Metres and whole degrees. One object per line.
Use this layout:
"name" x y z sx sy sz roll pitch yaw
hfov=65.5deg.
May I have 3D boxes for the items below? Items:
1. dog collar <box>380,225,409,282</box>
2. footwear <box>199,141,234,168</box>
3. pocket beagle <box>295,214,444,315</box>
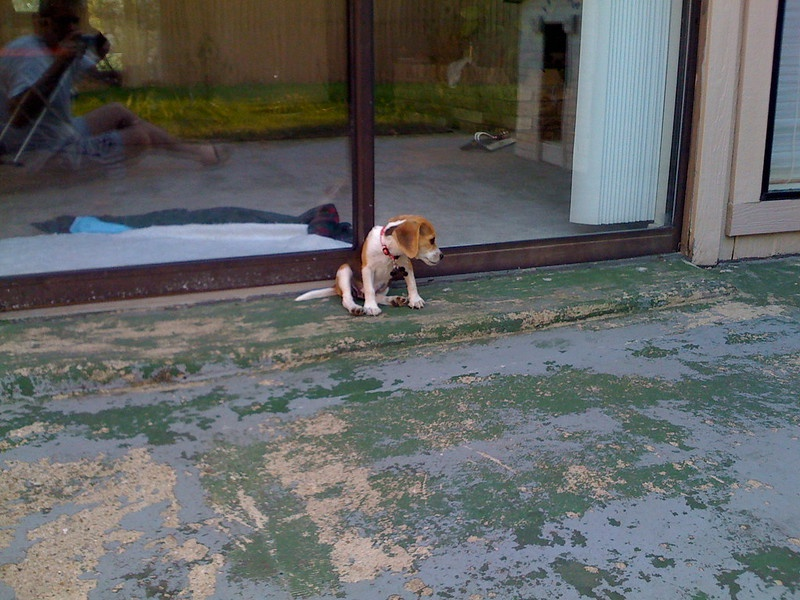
"dog collar" -0.057 -0.267 3.661 0.173 0.293 0.120 4 44 27
"footwear" -2.165 -1.706 7.305 0.558 0.148 0.457 -7 37 -21
"pocket beagle" -0.262 -0.211 3.712 1.059 0.524 0.493 3 6 25
